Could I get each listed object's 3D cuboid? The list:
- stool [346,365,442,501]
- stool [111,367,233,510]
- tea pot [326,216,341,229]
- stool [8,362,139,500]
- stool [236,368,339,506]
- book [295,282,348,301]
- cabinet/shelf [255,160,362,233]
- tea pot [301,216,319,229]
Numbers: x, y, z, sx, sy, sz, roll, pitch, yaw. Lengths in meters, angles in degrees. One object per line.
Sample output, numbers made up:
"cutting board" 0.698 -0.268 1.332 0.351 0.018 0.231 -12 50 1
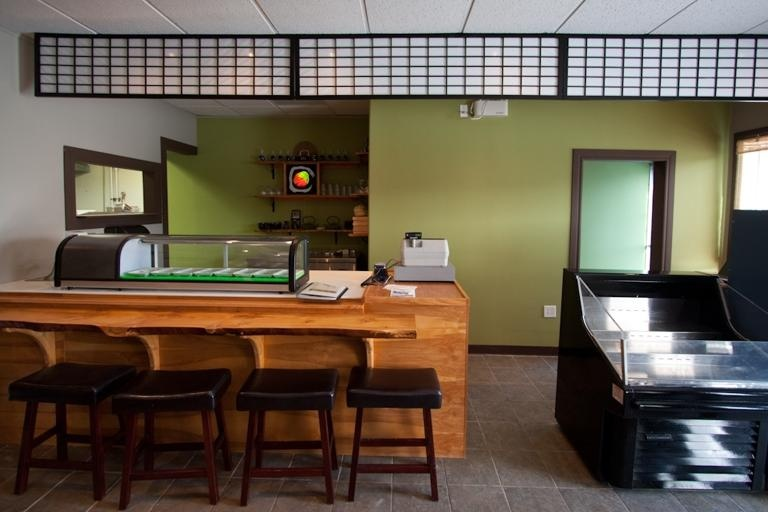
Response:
"stool" 0.069 1.290 4.252 0.678 0.904 0.402 1 6 2
"stool" -1.521 1.265 4.442 1.125 0.985 0.925 0 1 -7
"tea pot" -0.677 -0.448 7.706 0.209 0.146 0.185 0 -4 -3
"stool" -2.260 1.272 4.649 1.134 1.068 1.043 0 2 -6
"stool" -0.655 1.269 4.416 1.053 0.973 0.904 0 -1 -2
"book" -0.487 0.265 4.561 0.355 0.106 0.351 1 5 7
"cabinet/shelf" -0.917 -0.793 7.771 1.688 0.781 0.487 1 6 -3
"tea pot" -0.991 -0.439 7.713 0.223 0.157 0.198 0 -1 -7
